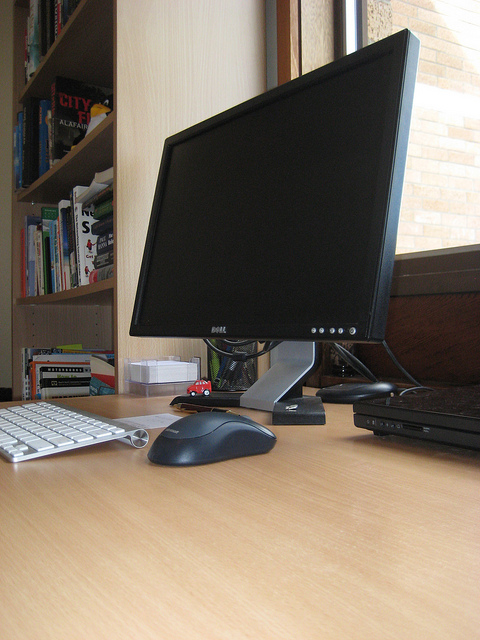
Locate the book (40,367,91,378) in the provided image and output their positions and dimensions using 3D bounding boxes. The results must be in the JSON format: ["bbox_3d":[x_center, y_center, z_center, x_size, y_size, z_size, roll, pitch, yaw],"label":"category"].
[{"bbox_3d":[-0.571,0.170,1.609,0.152,0.037,0.046,-1,-3,-8],"label":"book"}]

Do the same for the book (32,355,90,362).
[{"bbox_3d":[-0.596,0.129,1.653,0.168,0.028,0.071,-1,-3,-11],"label":"book"}]

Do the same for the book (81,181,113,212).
[{"bbox_3d":[-0.416,-0.359,1.440,0.025,0.035,0.145,24,-30,-34],"label":"book"}]

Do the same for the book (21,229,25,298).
[{"bbox_3d":[-0.918,-0.243,2.083,0.011,0.284,0.072,0,-3,-28],"label":"book"}]

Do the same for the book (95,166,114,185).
[{"bbox_3d":[-0.384,-0.407,1.393,0.024,0.035,0.143,10,10,-18],"label":"book"}]

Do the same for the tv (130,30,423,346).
[{"bbox_3d":[0.004,-0.162,0.760,0.089,0.400,0.551,1,-4,-41],"label":"tv"}]

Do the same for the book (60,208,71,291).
[{"bbox_3d":[-0.602,-0.248,1.697,0.018,0.281,0.073,0,-3,-33],"label":"book"}]

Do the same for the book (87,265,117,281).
[{"bbox_3d":[-0.371,-0.126,1.334,0.085,0.064,0.020,-6,-13,38],"label":"book"}]

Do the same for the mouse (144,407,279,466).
[{"bbox_3d":[-0.032,0.107,0.508,0.106,0.039,0.064,3,-5,-33],"label":"mouse"}]

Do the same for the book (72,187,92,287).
[{"bbox_3d":[-0.497,-0.244,1.569,0.052,0.261,0.037,-1,-3,-19],"label":"book"}]

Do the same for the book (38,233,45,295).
[{"bbox_3d":[-0.772,-0.221,1.916,0.016,0.239,0.073,0,-3,-26],"label":"book"}]

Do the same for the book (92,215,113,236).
[{"bbox_3d":[-0.366,-0.258,1.356,0.052,0.017,0.073,-36,15,-32],"label":"book"}]

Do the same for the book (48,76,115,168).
[{"bbox_3d":[-0.603,-0.759,1.894,0.232,0.349,0.051,1,-4,-45],"label":"book"}]

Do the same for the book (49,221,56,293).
[{"bbox_3d":[-0.694,-0.233,1.822,0.011,0.251,0.072,0,-3,-23],"label":"book"}]

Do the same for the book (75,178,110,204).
[{"bbox_3d":[-0.442,-0.386,1.479,0.028,0.022,0.167,15,-11,-32],"label":"book"}]
